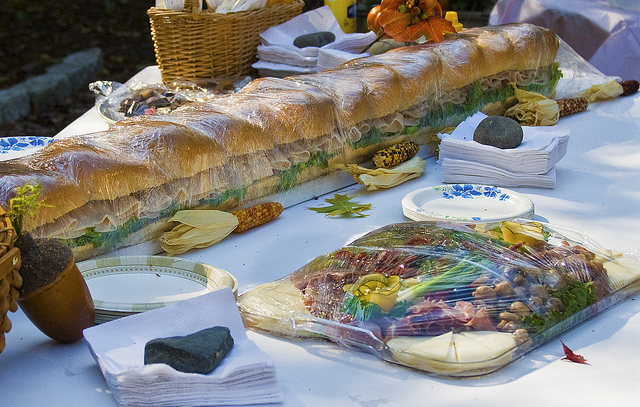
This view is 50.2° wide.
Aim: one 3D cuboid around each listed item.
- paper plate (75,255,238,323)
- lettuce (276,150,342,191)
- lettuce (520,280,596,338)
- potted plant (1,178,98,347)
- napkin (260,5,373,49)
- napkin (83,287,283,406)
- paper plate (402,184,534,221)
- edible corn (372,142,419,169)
[{"bbox_3d":[-0.405,0.182,1.542,0.365,0.039,0.360,-4,12,-40],"label":"paper plate"},{"bbox_3d":[-0.052,-0.100,1.989,0.248,0.080,0.054,-16,32,-32],"label":"lettuce"},{"bbox_3d":[0.526,0.226,1.502,0.219,0.035,0.051,-22,39,-22],"label":"lettuce"},{"bbox_3d":[-0.583,0.144,1.444,0.153,0.338,0.228,-21,39,-20],"label":"potted plant"},{"bbox_3d":[-0.028,-0.687,2.668,0.515,0.101,0.341,-3,25,-4],"label":"napkin"},{"bbox_3d":[-0.286,0.330,1.407,0.319,0.118,0.300,-20,38,-19],"label":"napkin"},{"bbox_3d":[0.402,-0.003,1.860,0.348,0.044,0.219,3,36,12],"label":"paper plate"},{"bbox_3d":[0.232,-0.146,2.095,0.060,0.052,0.172,-10,1,34],"label":"edible corn"}]
